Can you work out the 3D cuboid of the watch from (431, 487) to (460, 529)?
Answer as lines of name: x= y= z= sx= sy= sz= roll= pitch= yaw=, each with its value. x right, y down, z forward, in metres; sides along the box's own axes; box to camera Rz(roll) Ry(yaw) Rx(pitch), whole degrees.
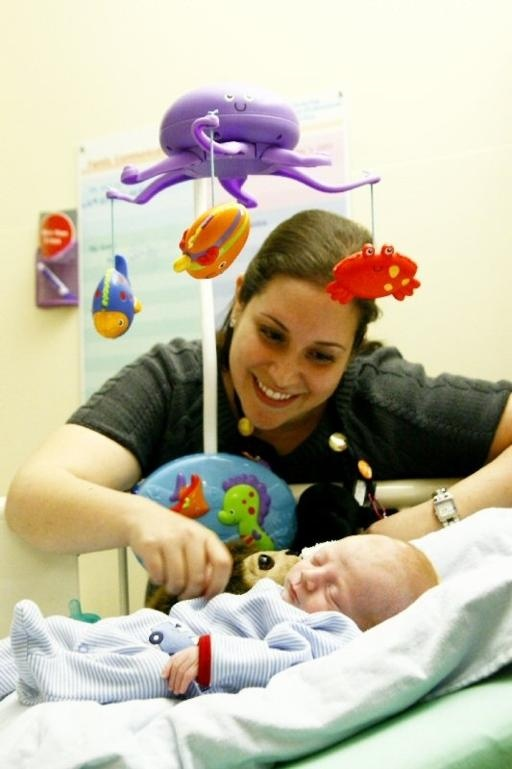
watch: x=0.275 y=0.180 z=1.018 sx=0.034 sy=0.052 sz=0.051 roll=-25 pitch=12 yaw=3
